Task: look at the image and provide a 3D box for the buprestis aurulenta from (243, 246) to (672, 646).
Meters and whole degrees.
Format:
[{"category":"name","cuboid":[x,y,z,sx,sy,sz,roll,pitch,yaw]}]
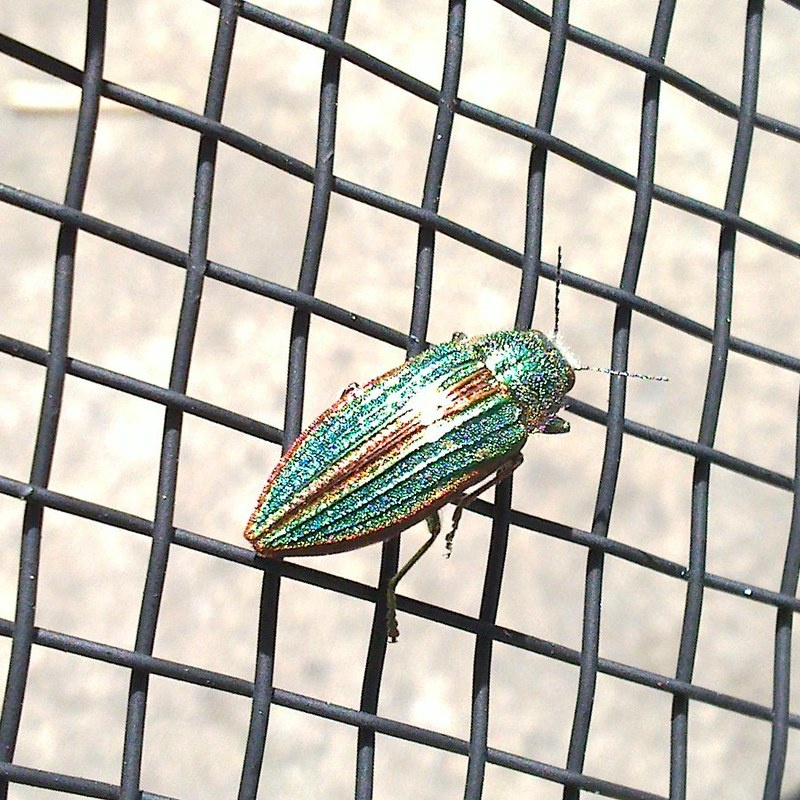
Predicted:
[{"category":"buprestis aurulenta","cuboid":[0.031,0.082,2.518,0.765,0.465,0.219,-27,1,-21]}]
